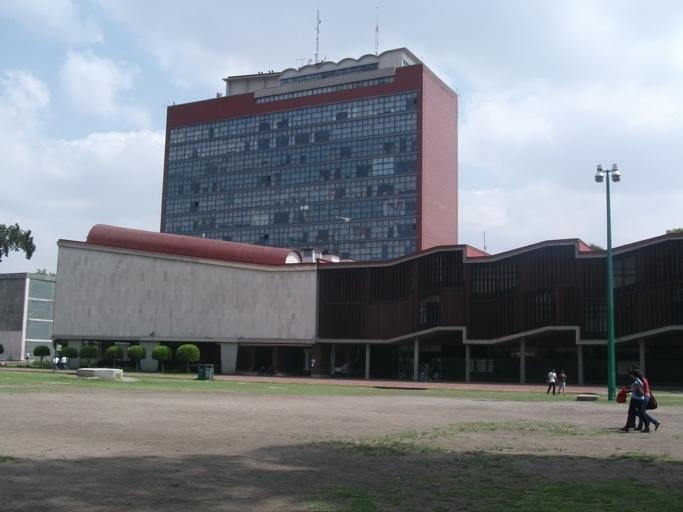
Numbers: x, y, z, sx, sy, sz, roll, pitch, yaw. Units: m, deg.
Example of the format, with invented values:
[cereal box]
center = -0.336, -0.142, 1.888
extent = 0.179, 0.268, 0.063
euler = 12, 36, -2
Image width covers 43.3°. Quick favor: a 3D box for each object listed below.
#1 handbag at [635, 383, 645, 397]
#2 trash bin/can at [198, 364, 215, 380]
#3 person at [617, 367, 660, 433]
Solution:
[handbag]
center = 9.157, 4.110, 26.396
extent = 0.415, 0.396, 0.231
euler = 1, -1, 20
[trash bin/can]
center = -8.771, 7.441, 55.354
extent = 1.376, 1.269, 0.983
euler = 1, -12, -11
[person]
center = 9.349, 4.489, 26.936
extent = 1.035, 2.039, 1.603
euler = -2, 3, 20
